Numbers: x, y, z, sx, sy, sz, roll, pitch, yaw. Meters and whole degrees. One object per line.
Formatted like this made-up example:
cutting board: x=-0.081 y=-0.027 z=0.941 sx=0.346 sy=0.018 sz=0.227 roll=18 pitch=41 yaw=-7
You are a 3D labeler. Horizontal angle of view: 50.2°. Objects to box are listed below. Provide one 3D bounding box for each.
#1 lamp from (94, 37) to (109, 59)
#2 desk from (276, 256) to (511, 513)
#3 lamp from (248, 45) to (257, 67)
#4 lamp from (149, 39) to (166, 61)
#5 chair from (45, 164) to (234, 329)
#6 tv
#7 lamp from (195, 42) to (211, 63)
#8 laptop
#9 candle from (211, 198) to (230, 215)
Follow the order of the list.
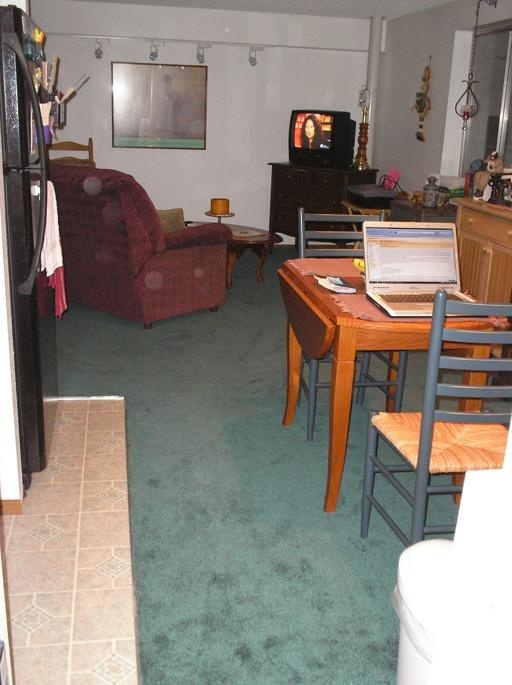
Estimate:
lamp: x=-1.906 y=-3.564 z=6.669 sx=0.149 sy=0.217 sz=0.163 roll=-4 pitch=21 yaw=-13
desk: x=0.353 y=0.320 z=2.625 sx=0.984 sy=1.039 sz=1.462 roll=0 pitch=18 yaw=-6
lamp: x=-0.051 y=-3.618 z=6.953 sx=0.105 sy=0.216 sz=0.194 roll=0 pitch=21 yaw=-1
lamp: x=-1.232 y=-3.608 z=6.789 sx=0.199 sy=0.239 sz=0.179 roll=-3 pitch=21 yaw=-11
chair: x=-0.888 y=-0.764 z=4.371 sx=1.335 sy=1.205 sz=0.790 roll=-4 pitch=21 yaw=-14
tv: x=0.807 y=-2.479 z=6.729 sx=0.376 sy=0.547 sz=0.658 roll=-17 pitch=26 yaw=-42
lamp: x=-0.660 y=-3.599 z=6.826 sx=0.188 sy=0.219 sz=0.289 roll=-1 pitch=21 yaw=-6
laptop: x=0.665 y=-0.286 z=2.253 sx=0.485 sy=0.338 sz=0.414 roll=-5 pitch=34 yaw=-12
candle: x=-0.373 y=-1.479 z=6.036 sx=0.208 sy=0.158 sz=0.209 roll=22 pitch=33 yaw=33
